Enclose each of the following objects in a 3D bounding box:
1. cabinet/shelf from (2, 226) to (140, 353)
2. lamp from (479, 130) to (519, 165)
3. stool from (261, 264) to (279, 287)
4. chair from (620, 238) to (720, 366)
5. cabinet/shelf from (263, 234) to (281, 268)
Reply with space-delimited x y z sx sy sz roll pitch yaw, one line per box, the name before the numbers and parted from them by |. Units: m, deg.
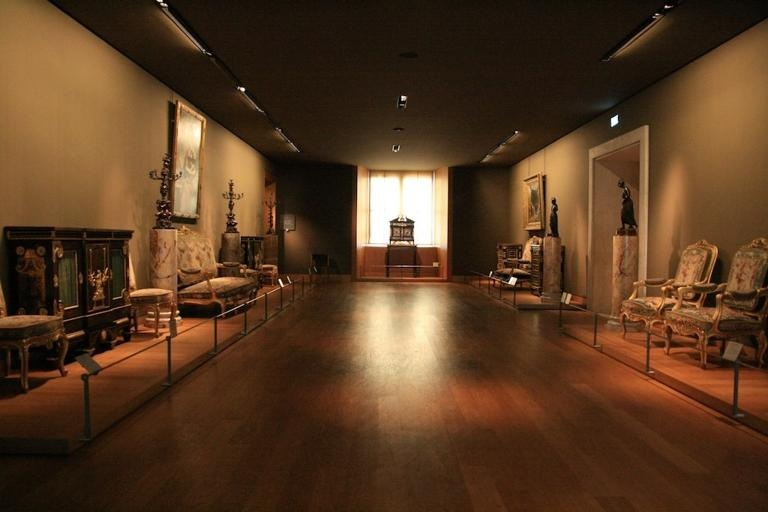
cabinet/shelf | -4.477 0.481 6.909 0.767 1.752 1.921 -1 -2 8
lamp | 3.564 -3.322 15.011 1.002 0.738 4.063 2 11 11
stool | -3.589 0.613 15.487 0.597 0.494 0.580 0 -4 -8
chair | 4.758 0.596 8.295 1.390 1.620 1.197 -2 2 -16
cabinet/shelf | -3.821 -0.175 16.404 0.446 1.067 0.923 -2 11 -9
